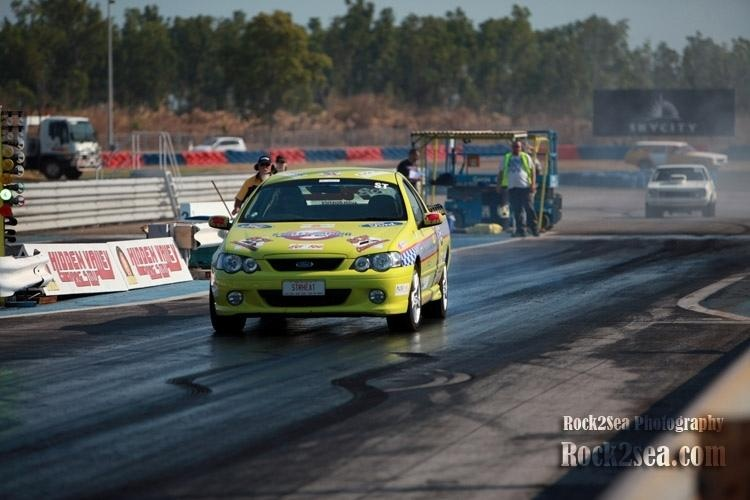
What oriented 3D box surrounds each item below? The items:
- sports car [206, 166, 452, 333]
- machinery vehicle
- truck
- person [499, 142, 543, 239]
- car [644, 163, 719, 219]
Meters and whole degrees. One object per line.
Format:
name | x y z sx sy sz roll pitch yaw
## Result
sports car | -0.466 -0.283 12.553 2.979 1.715 4.750 0 9 6
machinery vehicle | 3.941 -2.059 25.265 4.891 3.154 3.205 1 0 34
truck | -15.129 -4.908 42.637 3.267 2.913 1.242 -2 6 -12
person | 3.644 -1.505 22.510 1.121 2.118 1.106 3 2 7
car | 9.894 -1.896 28.843 2.108 1.595 1.567 1 6 12
